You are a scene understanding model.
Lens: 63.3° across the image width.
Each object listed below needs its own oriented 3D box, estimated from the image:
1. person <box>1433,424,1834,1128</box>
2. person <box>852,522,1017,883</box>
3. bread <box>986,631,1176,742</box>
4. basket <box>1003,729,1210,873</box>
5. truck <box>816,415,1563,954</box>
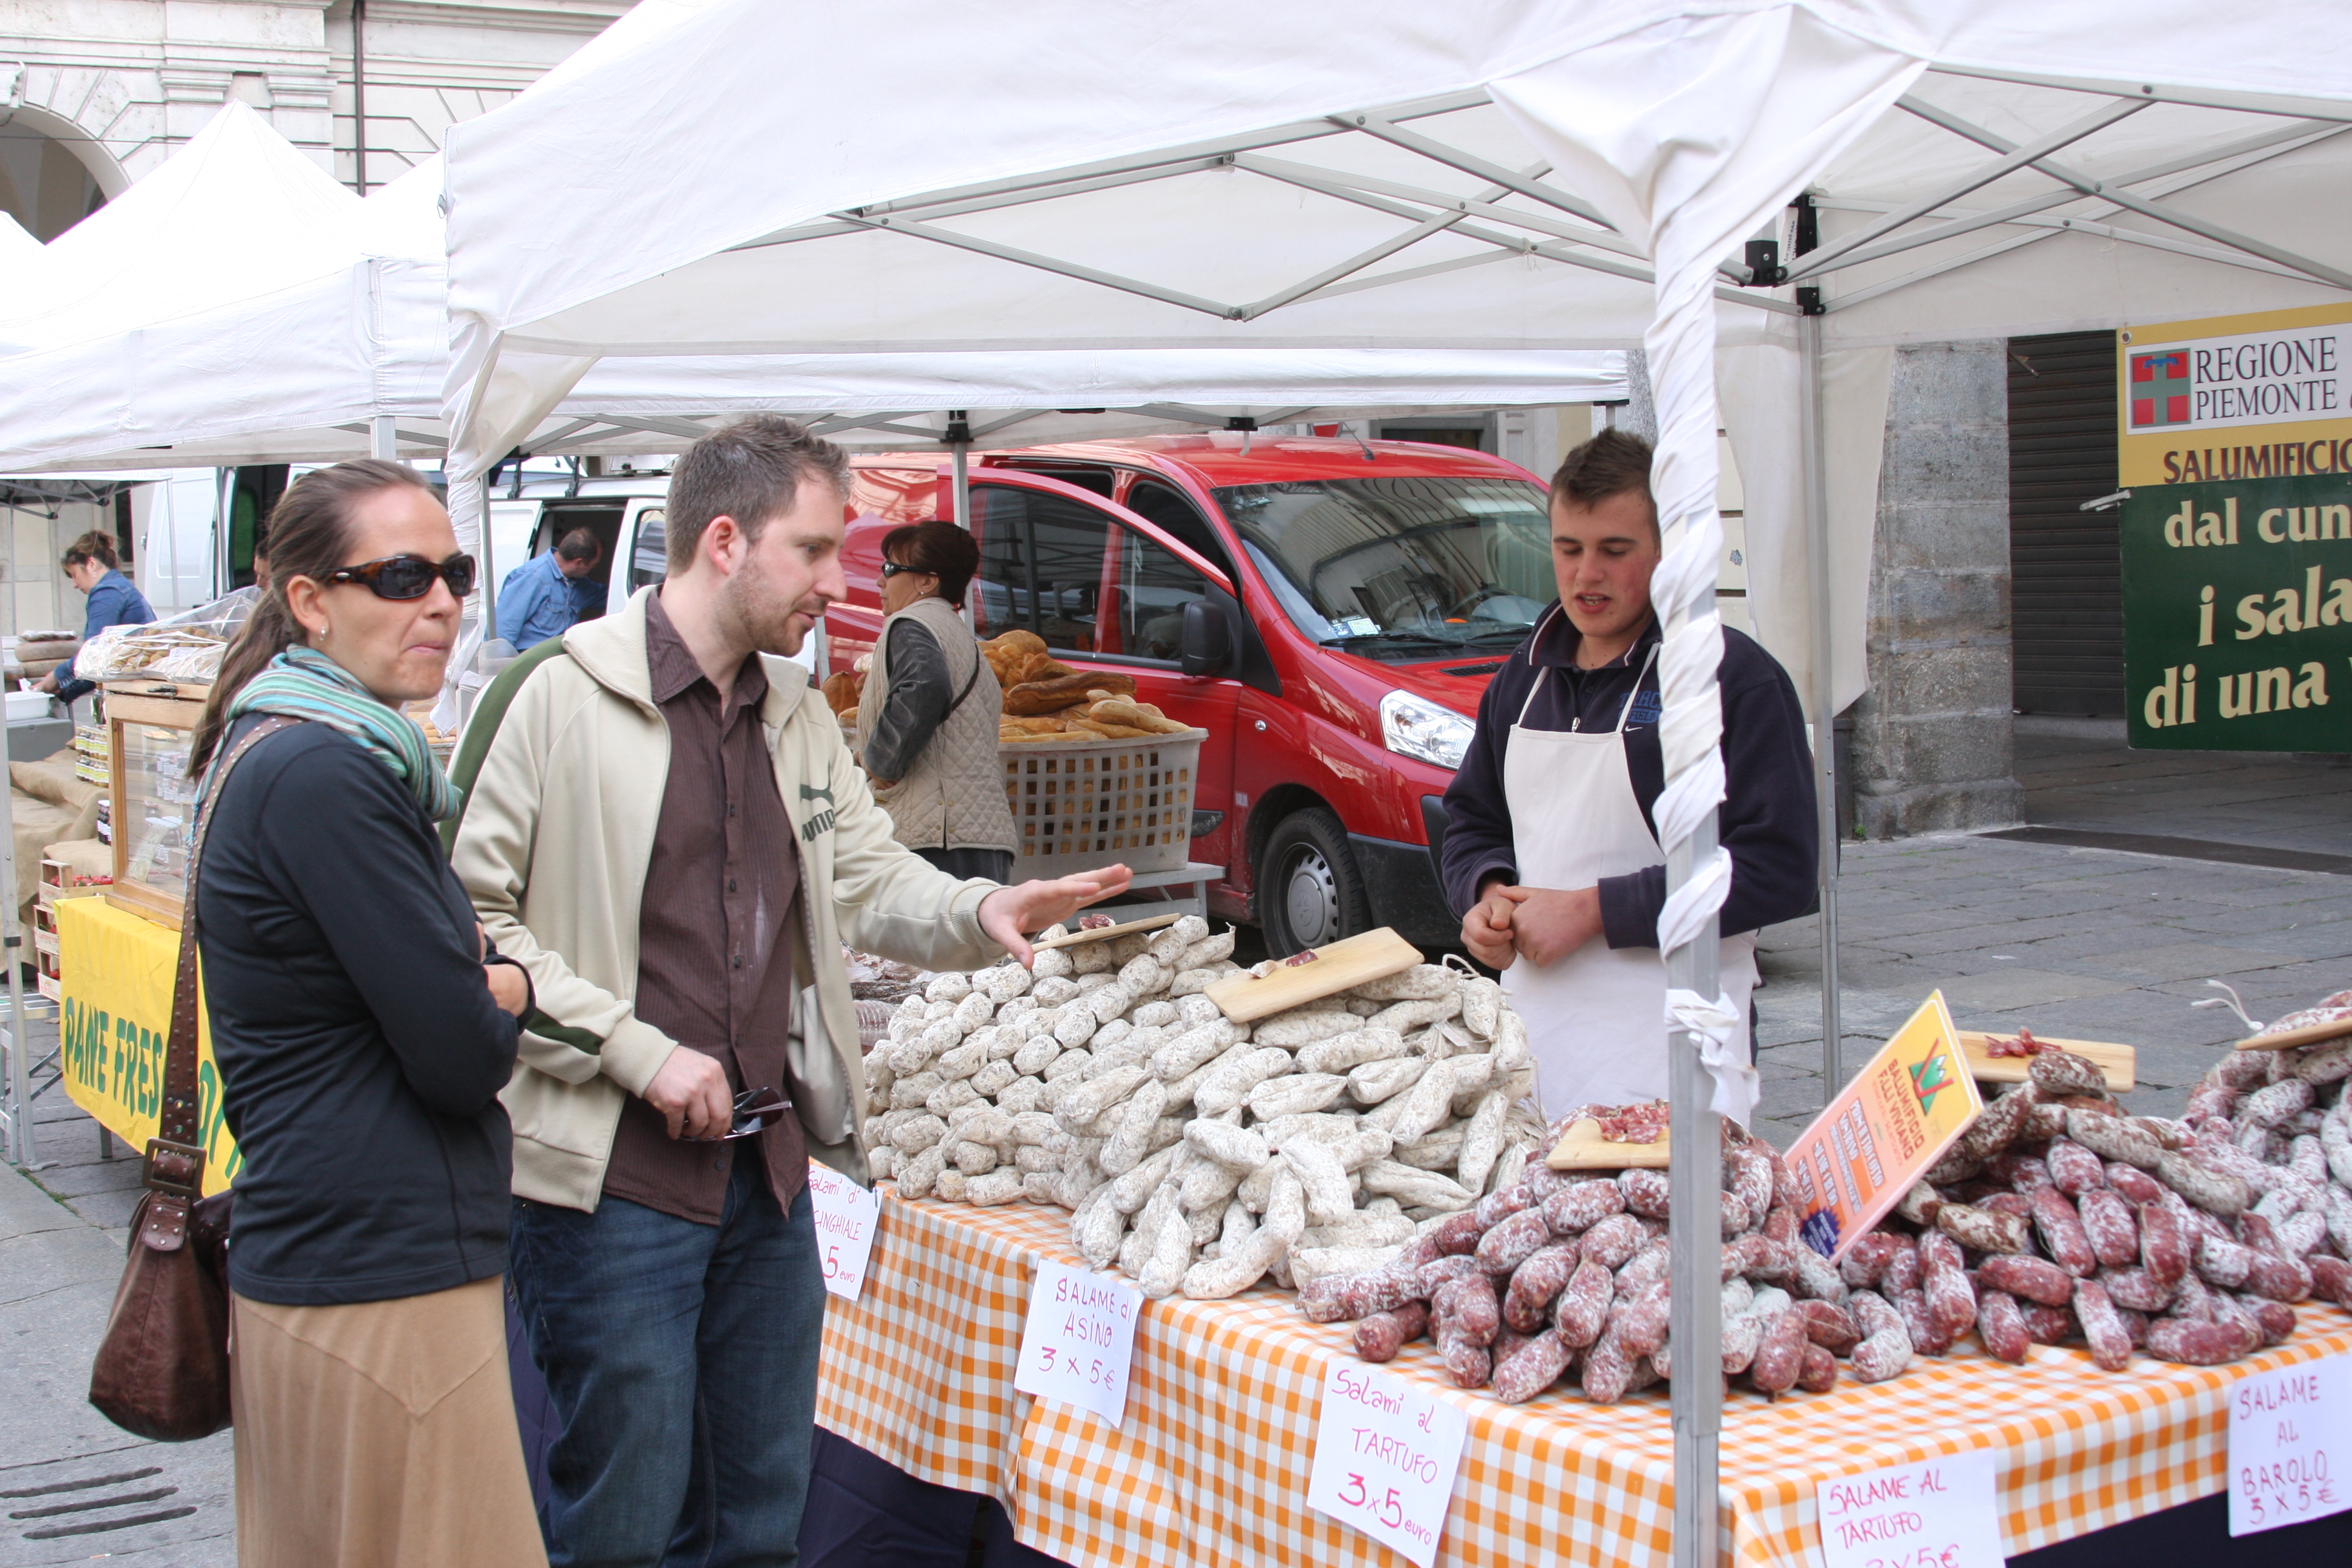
[{"bbox_3d":[1.009,0.034,4.242,0.638,1.673,0.725,0,2,5],"label":"person"},{"bbox_3d":[-0.870,-0.299,7.137,0.595,1.394,0.835,5,20,10],"label":"person"},{"bbox_3d":[-0.412,-0.382,7.980,0.728,0.492,0.782,-2,9,-1],"label":"bread"},{"bbox_3d":[-0.270,0.061,7.085,0.475,0.387,0.678,1,-5,-30],"label":"basket"},{"bbox_3d":[0.551,-0.681,10.401,2.254,2.013,3.976,-1,0,-39],"label":"truck"}]
